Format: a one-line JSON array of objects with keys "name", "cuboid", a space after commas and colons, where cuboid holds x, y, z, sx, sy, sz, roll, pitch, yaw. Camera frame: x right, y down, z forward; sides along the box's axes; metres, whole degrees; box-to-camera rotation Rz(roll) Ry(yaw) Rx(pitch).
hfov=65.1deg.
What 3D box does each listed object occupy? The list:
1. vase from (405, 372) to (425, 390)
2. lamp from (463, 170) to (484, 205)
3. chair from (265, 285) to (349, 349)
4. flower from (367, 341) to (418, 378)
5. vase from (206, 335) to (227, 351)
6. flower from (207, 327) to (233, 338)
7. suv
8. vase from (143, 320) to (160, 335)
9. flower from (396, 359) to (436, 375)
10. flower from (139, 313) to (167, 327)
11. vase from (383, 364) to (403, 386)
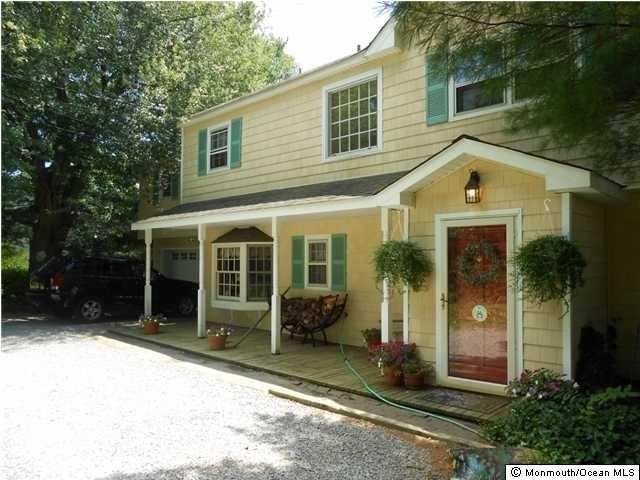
[{"name": "vase", "cuboid": [1.551, 2.293, 8.161, 0.304, 0.201, 0.286, 1, -15, -4]}, {"name": "lamp", "cuboid": [2.461, -0.857, 8.036, 0.271, 0.543, 0.152, 1, 5, 15]}, {"name": "chair", "cuboid": [-0.244, 1.725, 11.567, 1.299, 0.793, 1.293, 1, -1, -30]}, {"name": "flower", "cuboid": [1.305, 1.971, 8.458, 0.614, 0.425, 0.596, 2, -8, -17]}, {"name": "vase", "cuboid": [-2.249, 2.240, 10.907, 0.343, 0.219, 0.345, -8, -13, 32]}, {"name": "flower", "cuboid": [-2.303, 2.032, 11.000, 0.457, 0.153, 0.443, -6, -10, 30]}, {"name": "suv", "cuboid": [-6.196, 1.407, 15.291, 4.438, 1.700, 2.030, 0, -3, -39]}, {"name": "vase", "cuboid": [-4.356, 2.249, 12.905, 0.371, 0.269, 0.370, 6, -12, -37]}, {"name": "flower", "cuboid": [1.617, 2.123, 8.289, 0.497, 0.216, 0.305, -2, 4, -36]}, {"name": "flower", "cuboid": [-4.429, 2.071, 13.222, 0.682, 0.251, 0.682, 1, -11, -9]}, {"name": "vase", "cuboid": [1.222, 2.273, 8.394, 0.328, 0.239, 0.329, 0, -14, 2]}]
